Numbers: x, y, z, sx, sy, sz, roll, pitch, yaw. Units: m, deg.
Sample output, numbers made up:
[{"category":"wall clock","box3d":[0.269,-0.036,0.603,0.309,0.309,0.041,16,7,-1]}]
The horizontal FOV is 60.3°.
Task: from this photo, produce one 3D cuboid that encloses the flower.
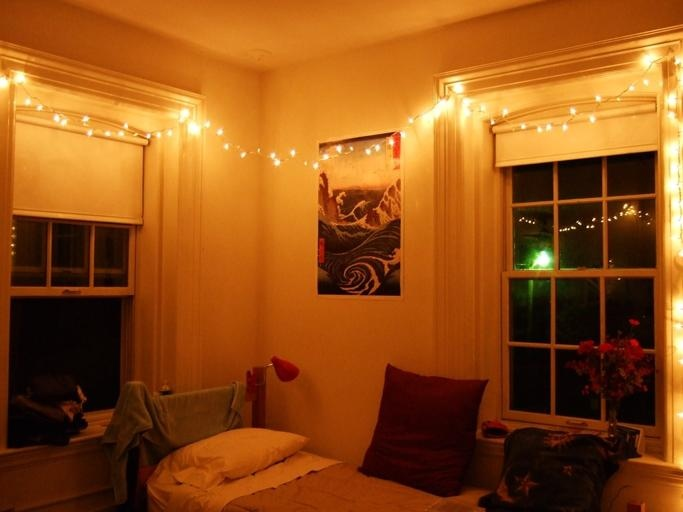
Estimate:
[{"category":"flower","box3d":[1.661,0.568,3.784,0.530,0.718,0.562,2,1,37]}]
